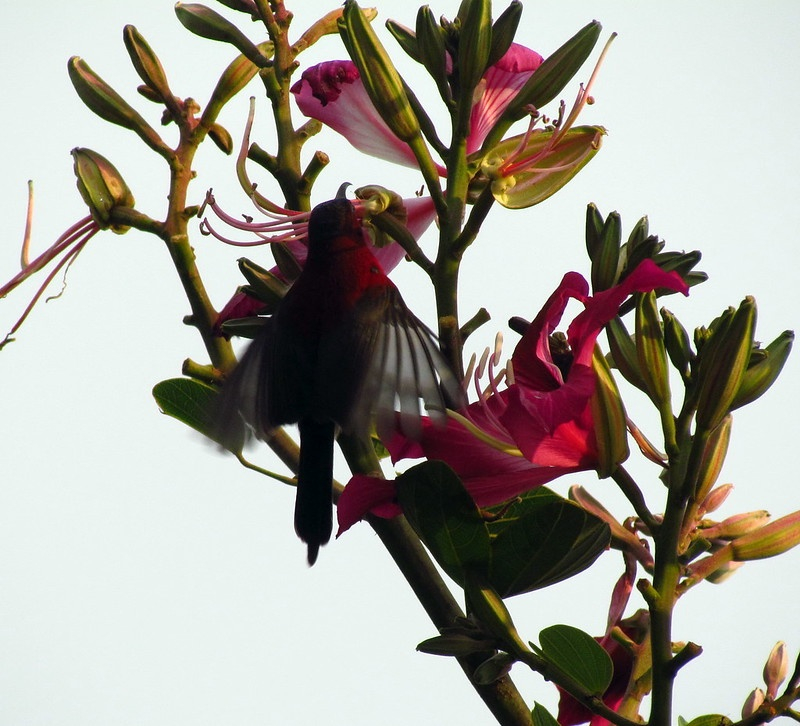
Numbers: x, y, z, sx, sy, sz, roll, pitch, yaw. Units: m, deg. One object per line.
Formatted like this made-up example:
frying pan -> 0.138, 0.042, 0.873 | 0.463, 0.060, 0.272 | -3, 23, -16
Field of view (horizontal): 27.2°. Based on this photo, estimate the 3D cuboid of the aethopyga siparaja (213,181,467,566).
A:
aethopyga siparaja -> -0.061, -0.006, 1.477 | 0.206, 0.332, 0.111 | -8, -13, 28

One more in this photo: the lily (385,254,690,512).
lily -> 0.123, 0.021, 1.443 | 0.206, 0.118, 0.222 | -32, -12, 10

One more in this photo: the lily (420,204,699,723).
lily -> 0.135, 0.082, 1.386 | 0.195, 0.335, 0.232 | 30, -36, -19
